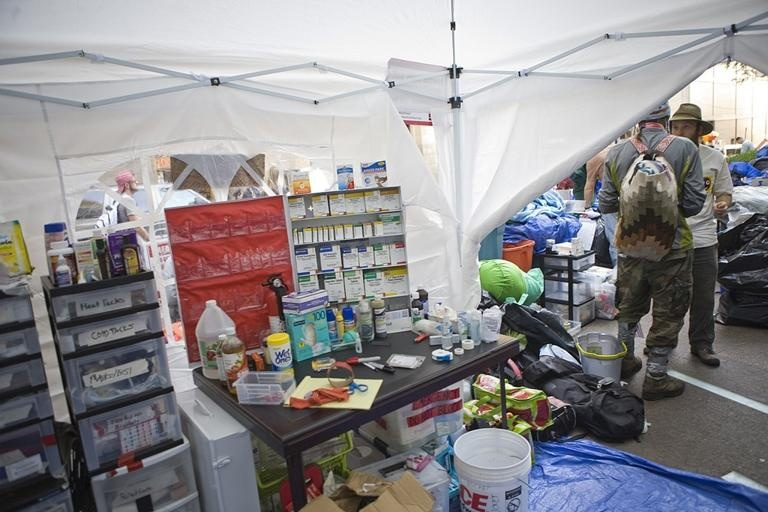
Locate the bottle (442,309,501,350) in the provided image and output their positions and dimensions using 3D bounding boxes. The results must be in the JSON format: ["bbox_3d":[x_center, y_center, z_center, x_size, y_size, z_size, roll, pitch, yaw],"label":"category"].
[{"bbox_3d":[0.633,0.512,3.764,0.317,0.280,0.223,-5,1,33],"label":"bottle"}]

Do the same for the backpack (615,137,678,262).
[{"bbox_3d":[2.228,-0.456,4.514,0.503,0.950,0.564,-29,34,-33],"label":"backpack"}]

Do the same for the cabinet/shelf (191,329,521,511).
[{"bbox_3d":[-0.312,0.507,3.420,1.695,0.775,1.061,-17,23,-35],"label":"cabinet/shelf"}]

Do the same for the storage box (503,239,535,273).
[{"bbox_3d":[1.631,-0.039,6.364,0.353,0.345,0.500,0,9,35],"label":"storage box"}]

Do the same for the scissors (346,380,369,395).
[{"bbox_3d":[-0.162,0.819,3.380,0.127,0.048,0.113,-6,5,-4],"label":"scissors"}]

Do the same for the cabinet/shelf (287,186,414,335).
[{"bbox_3d":[-0.267,0.042,3.947,1.038,1.181,0.424,-6,-3,-14],"label":"cabinet/shelf"}]

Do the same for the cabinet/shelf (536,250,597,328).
[{"bbox_3d":[2.140,0.355,6.230,0.561,0.794,0.477,-8,10,-44],"label":"cabinet/shelf"}]

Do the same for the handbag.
[{"bbox_3d":[1.510,1.024,4.620,0.982,0.486,1.271,-14,17,-39],"label":"handbag"}]

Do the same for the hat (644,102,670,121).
[{"bbox_3d":[2.280,-1.218,4.485,0.128,0.120,0.096,-33,25,-17],"label":"hat"}]

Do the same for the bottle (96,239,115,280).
[{"bbox_3d":[-1.715,0.010,3.280,0.072,0.172,0.078,-7,6,1],"label":"bottle"}]
